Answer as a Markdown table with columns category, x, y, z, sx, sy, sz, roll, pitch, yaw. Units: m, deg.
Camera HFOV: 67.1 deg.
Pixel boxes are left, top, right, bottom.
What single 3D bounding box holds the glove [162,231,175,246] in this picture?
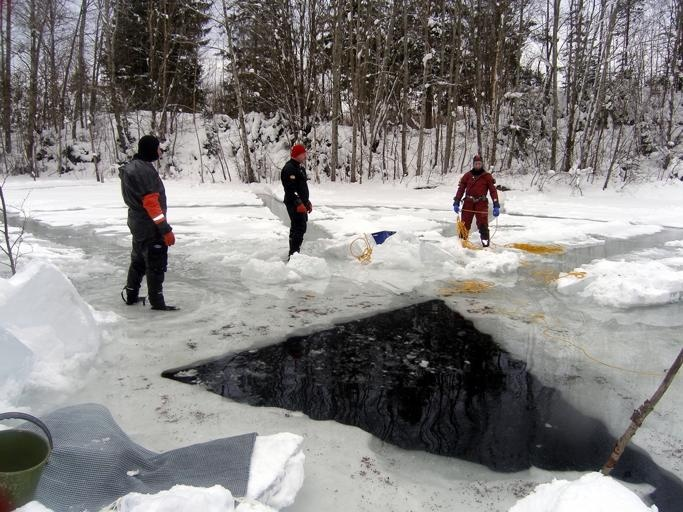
| category | x | y | z | sx | sy | sz | roll | pitch | yaw |
| --- | --- | --- | --- | --- | --- | --- | --- | --- | --- |
| glove | -1.926 | -0.198 | 5.887 | 0.130 | 0.064 | 0.176 | -27 | -19 | 27 |

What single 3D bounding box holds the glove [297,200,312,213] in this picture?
| category | x | y | z | sx | sy | sz | roll | pitch | yaw |
| --- | --- | --- | --- | --- | --- | --- | --- | --- | --- |
| glove | -0.569 | -0.757 | 8.042 | 0.235 | 0.112 | 0.313 | 2 | 10 | -9 |

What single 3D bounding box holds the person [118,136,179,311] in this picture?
| category | x | y | z | sx | sy | sz | roll | pitch | yaw |
| --- | --- | --- | --- | --- | --- | --- | --- | --- | --- |
| person | -2.305 | -0.394 | 6.121 | 0.642 | 2.007 | 0.933 | -3 | 14 | -21 |

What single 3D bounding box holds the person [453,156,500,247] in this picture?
| category | x | y | z | sx | sy | sz | roll | pitch | yaw |
| --- | --- | --- | --- | --- | --- | --- | --- | --- | --- |
| person | 2.582 | -1.046 | 9.730 | 0.809 | 1.632 | 0.994 | 9 | 14 | 28 |

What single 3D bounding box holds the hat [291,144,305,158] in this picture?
| category | x | y | z | sx | sy | sz | roll | pitch | yaw |
| --- | --- | --- | --- | --- | --- | --- | --- | --- | --- |
| hat | -0.665 | -1.612 | 8.074 | 0.198 | 0.205 | 0.320 | 1 | 12 | -5 |

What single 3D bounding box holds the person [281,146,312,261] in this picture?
| category | x | y | z | sx | sy | sz | roll | pitch | yaw |
| --- | --- | --- | --- | --- | --- | --- | --- | --- | --- |
| person | -0.704 | -0.832 | 8.160 | 0.459 | 1.785 | 1.018 | 1 | 13 | -4 |

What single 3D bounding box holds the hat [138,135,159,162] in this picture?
| category | x | y | z | sx | sy | sz | roll | pitch | yaw |
| --- | --- | --- | --- | --- | --- | --- | --- | --- | --- |
| hat | -2.207 | -1.222 | 5.928 | 0.240 | 0.299 | 0.313 | 0 | 13 | -9 |
